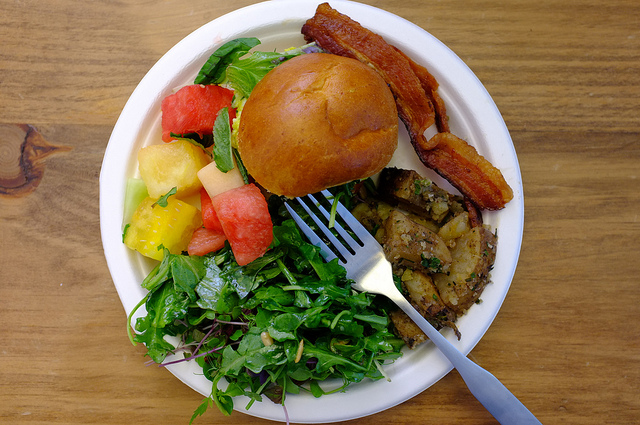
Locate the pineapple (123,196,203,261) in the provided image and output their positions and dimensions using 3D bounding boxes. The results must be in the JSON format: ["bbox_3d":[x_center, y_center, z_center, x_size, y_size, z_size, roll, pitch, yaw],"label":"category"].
[{"bbox_3d":[-0.941,0.089,3.883,0.392,0.140,0.398,28,94,-5],"label":"pineapple"}]

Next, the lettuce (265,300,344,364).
[{"bbox_3d":[-0.139,0.670,3.778,0.294,0.327,0.349,-1,117,2],"label":"lettuce"}]

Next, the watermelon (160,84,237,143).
[{"bbox_3d":[-0.734,-0.623,3.994,0.413,0.144,0.308,-3,97,-3],"label":"watermelon"}]

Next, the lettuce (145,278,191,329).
[{"bbox_3d":[-0.909,0.532,3.875,0.288,0.075,0.287,-15,55,9],"label":"lettuce"}]

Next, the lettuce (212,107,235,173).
[{"bbox_3d":[-0.585,-0.427,3.873,0.105,0.075,0.381,-6,82,3],"label":"lettuce"}]
